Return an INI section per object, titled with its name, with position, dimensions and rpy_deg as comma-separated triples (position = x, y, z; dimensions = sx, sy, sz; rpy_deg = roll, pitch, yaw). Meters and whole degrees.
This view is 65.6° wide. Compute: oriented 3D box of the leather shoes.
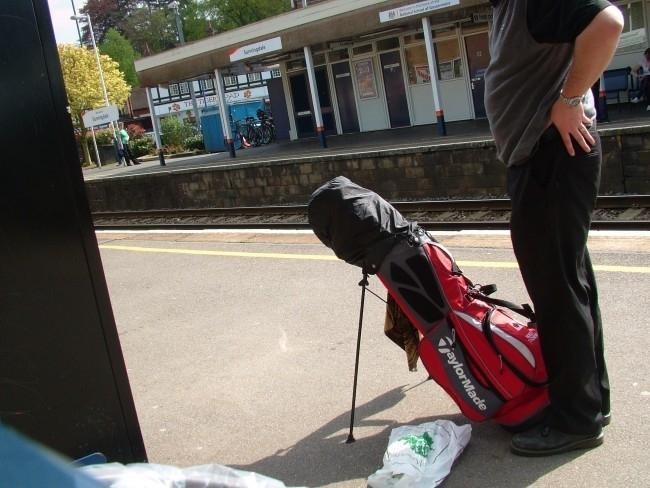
[leather shoes]
position = 1.152, 0.974, 2.500
dimensions = 0.609, 0.178, 0.219
rpy_deg = -9, 14, 1

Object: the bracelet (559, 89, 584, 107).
[bracelet]
position = 1.106, -0.657, 2.264
dimensions = 0.094, 0.083, 0.054
rpy_deg = -5, 13, 26
